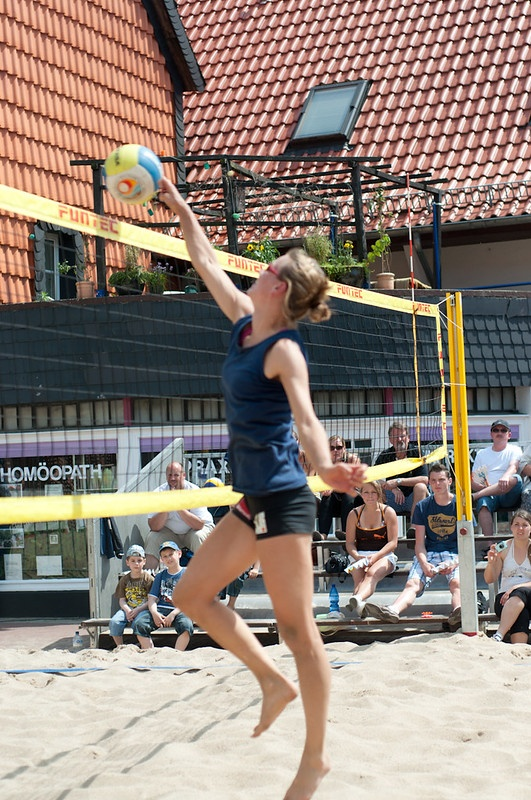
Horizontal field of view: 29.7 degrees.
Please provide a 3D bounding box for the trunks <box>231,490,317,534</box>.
[{"bbox_3d":[0.035,0.327,2.952,0.216,0.147,0.135,-13,-14,42],"label":"trunks"}]

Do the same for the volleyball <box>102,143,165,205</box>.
[{"bbox_3d":[-0.497,-0.813,3.628,0.233,0.213,0.185,-11,-9,34],"label":"volleyball"}]

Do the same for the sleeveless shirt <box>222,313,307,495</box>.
[{"bbox_3d":[-0.003,-0.004,2.990,0.296,0.573,0.237,-9,-9,24],"label":"sleeveless shirt"}]

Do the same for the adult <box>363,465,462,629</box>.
[{"bbox_3d":[1.095,0.936,6.682,0.672,1.074,1.020,7,-2,22],"label":"adult"}]
